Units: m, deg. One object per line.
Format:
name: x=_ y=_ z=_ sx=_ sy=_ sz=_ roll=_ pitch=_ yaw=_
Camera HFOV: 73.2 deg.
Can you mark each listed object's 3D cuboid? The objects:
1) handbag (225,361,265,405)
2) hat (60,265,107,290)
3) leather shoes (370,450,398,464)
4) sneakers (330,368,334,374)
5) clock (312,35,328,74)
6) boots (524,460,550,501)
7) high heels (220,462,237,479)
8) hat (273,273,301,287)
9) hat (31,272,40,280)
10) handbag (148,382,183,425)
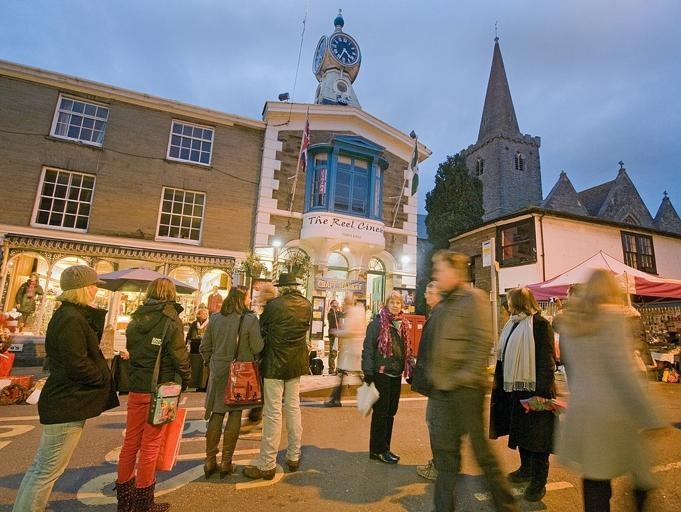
handbag: x=-1.235 y=1.642 z=5.828 sx=0.518 sy=0.509 sz=0.193 roll=4 pitch=-28 yaw=-21
hat: x=-2.759 y=0.220 z=4.918 sx=0.253 sy=0.206 sz=0.364 roll=4 pitch=4 yaw=43
leather shoes: x=0.592 y=2.751 z=6.226 sx=0.351 sy=0.143 sz=0.133 roll=-3 pitch=-17 yaw=18
sneakers: x=-0.234 y=3.081 z=12.161 sx=0.170 sy=0.160 sz=0.121 roll=0 pitch=-4 yaw=2
clock: x=-1.062 y=-10.886 z=24.527 sx=0.175 sy=1.830 sz=1.766 roll=5 pitch=-7 yaw=-21
boots: x=2.349 y=2.678 z=5.535 sx=0.267 sy=0.480 sz=0.340 roll=0 pitch=-7 yaw=21
high heels: x=-1.404 y=2.700 z=5.776 sx=0.099 sy=0.179 sz=0.238 roll=-2 pitch=-7 yaw=36
hat: x=-0.735 y=0.337 z=6.360 sx=0.360 sy=0.134 sz=0.320 roll=-2 pitch=-4 yaw=-1
hat: x=-9.091 y=0.599 z=13.728 sx=0.230 sy=0.180 sz=0.180 roll=39 pitch=0 yaw=32
handbag: x=-1.960 y=1.704 z=5.237 sx=0.134 sy=0.476 sz=0.401 roll=-1 pitch=-7 yaw=26
